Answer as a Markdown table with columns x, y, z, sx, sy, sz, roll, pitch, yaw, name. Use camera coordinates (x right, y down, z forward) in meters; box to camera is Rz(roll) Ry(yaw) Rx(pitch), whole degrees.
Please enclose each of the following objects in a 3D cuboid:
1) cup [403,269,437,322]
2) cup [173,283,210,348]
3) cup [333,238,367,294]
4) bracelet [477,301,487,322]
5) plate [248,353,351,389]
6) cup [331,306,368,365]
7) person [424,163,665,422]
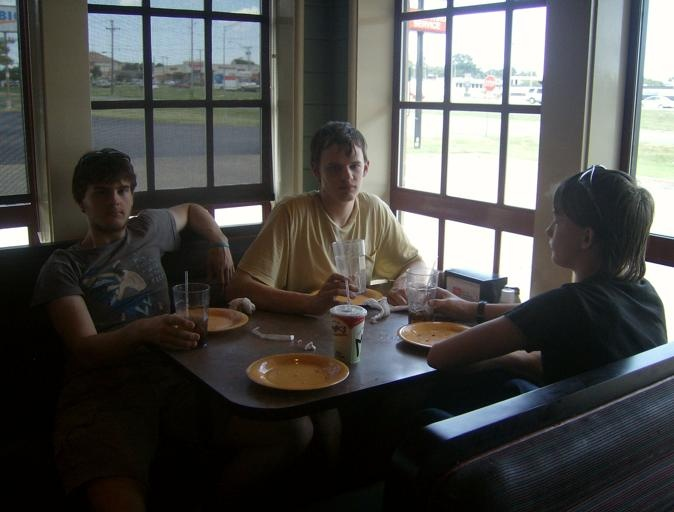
| x | y | z | sx | sy | sz | roll | pitch | yaw | name |
| --- | --- | --- | --- | --- | --- | --- | --- | --- | --- |
| 0.309 | 0.155 | 1.951 | 0.126 | 0.208 | 0.123 | 1 | 2 | 0 | cup |
| -0.464 | 0.200 | 1.747 | 0.121 | 0.198 | 0.123 | -3 | -3 | 0 | cup |
| 0.045 | 0.028 | 1.869 | 0.116 | 0.186 | 0.119 | -4 | 5 | 0 | cup |
| 0.518 | 0.199 | 1.939 | 0.040 | 0.061 | 0.064 | 0 | -3 | 25 | bracelet |
| -0.111 | 0.325 | 1.540 | 0.281 | 0.034 | 0.227 | -2 | 13 | -18 | plate |
| 0.034 | 0.233 | 1.644 | 0.146 | 0.163 | 0.150 | 2 | 5 | 0 | cup |
| 0.621 | 0.082 | 1.945 | 0.894 | 0.940 | 0.704 | 5 | 4 | 31 | person |
